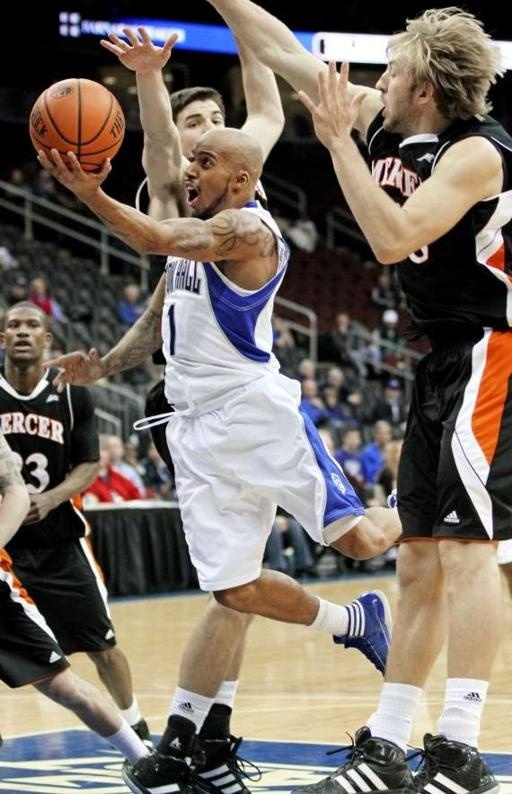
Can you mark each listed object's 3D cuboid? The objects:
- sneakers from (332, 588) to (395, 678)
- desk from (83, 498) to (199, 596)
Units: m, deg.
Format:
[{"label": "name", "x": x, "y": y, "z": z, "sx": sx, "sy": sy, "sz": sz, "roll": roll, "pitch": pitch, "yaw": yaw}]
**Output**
[{"label": "sneakers", "x": 0.388, "y": 0.815, "z": 2.966, "sx": 0.190, "sy": 0.384, "sz": 0.130, "roll": -14, "pitch": 3, "yaw": -19}, {"label": "desk", "x": -1.634, "y": 1.880, "z": 9.982, "sx": 1.436, "sy": 0.872, "sz": 0.897, "roll": -15, "pitch": -13, "yaw": 37}]
